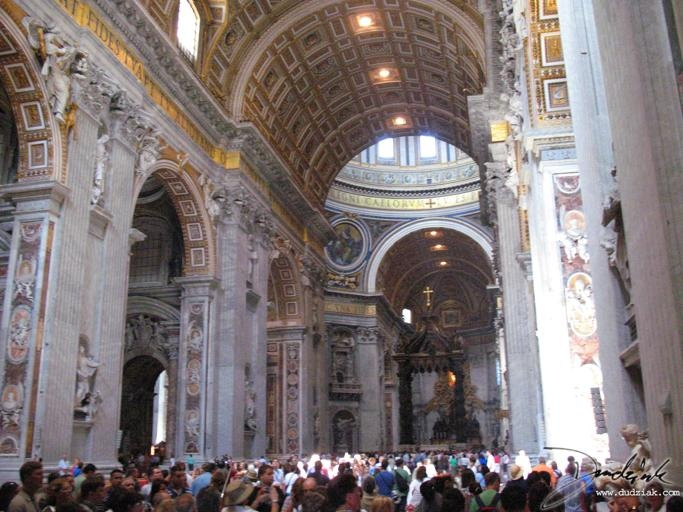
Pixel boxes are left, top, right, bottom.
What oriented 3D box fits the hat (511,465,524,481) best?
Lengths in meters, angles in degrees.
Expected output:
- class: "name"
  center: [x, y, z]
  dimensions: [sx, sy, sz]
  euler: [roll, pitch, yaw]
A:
- class: "hat"
  center: [2.057, 2.528, 7.944]
  dimensions: [0.154, 0.195, 0.088]
  euler: [-14, -56, 35]
